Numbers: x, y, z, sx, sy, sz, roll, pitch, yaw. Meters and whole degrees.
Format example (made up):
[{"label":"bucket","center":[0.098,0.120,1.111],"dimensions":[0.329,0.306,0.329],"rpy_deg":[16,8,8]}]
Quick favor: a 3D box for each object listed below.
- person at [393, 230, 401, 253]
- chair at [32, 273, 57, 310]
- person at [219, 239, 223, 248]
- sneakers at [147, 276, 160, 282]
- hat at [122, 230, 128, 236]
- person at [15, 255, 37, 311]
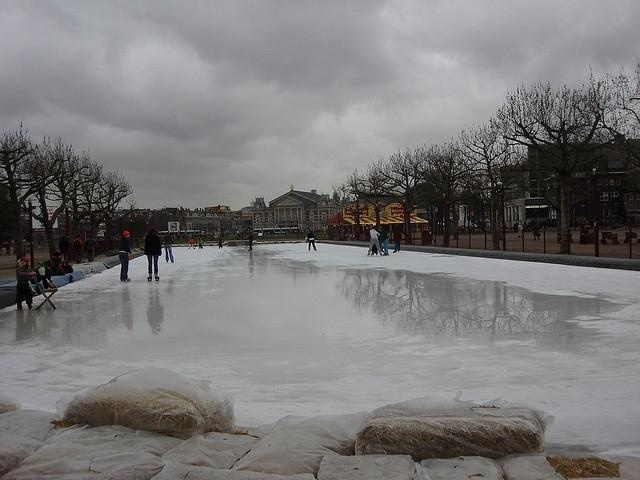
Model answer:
[{"label":"person","center":[5.659,0.059,37.833],"dimensions":[0.374,1.690,1.170],"rpy_deg":[0,3,10]},{"label":"chair","center":[-6.998,1.321,13.379],"dimensions":[0.578,0.819,0.532],"rpy_deg":[0,-7,-7]},{"label":"person","center":[-11.726,0.385,60.646],"dimensions":[0.265,0.942,1.103],"rpy_deg":[-2,3,-22]},{"label":"sneakers","center":[-6.391,1.471,19.762],"dimensions":[0.503,0.234,0.163],"rpy_deg":[-4,6,-4]},{"label":"hat","center":[-7.287,-0.238,19.335],"dimensions":[0.237,0.138,0.348],"rpy_deg":[7,2,-24]},{"label":"person","center":[-7.424,1.082,12.940],"dimensions":[0.374,1.337,0.919],"rpy_deg":[-3,4,-31]}]
